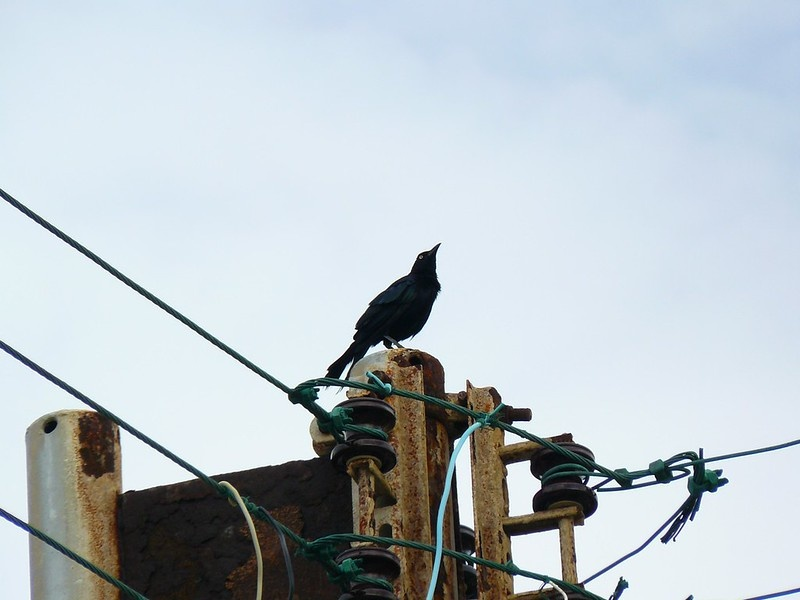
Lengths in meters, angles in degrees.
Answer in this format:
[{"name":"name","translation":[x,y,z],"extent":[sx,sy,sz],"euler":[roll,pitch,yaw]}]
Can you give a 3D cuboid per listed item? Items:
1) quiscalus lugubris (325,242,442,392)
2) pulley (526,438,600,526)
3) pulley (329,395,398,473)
[{"name":"quiscalus lugubris","translation":[-0.068,0.016,16.855],"extent":[0.791,1.288,0.597],"euler":[6,-43,-4]},{"name":"pulley","translation":[0.840,0.904,11.150],"extent":[0.326,0.382,0.173],"euler":[4,-42,-2]},{"name":"pulley","translation":[-0.167,0.657,11.017],"extent":[0.324,0.324,0.326],"euler":[2,-44,0]}]
